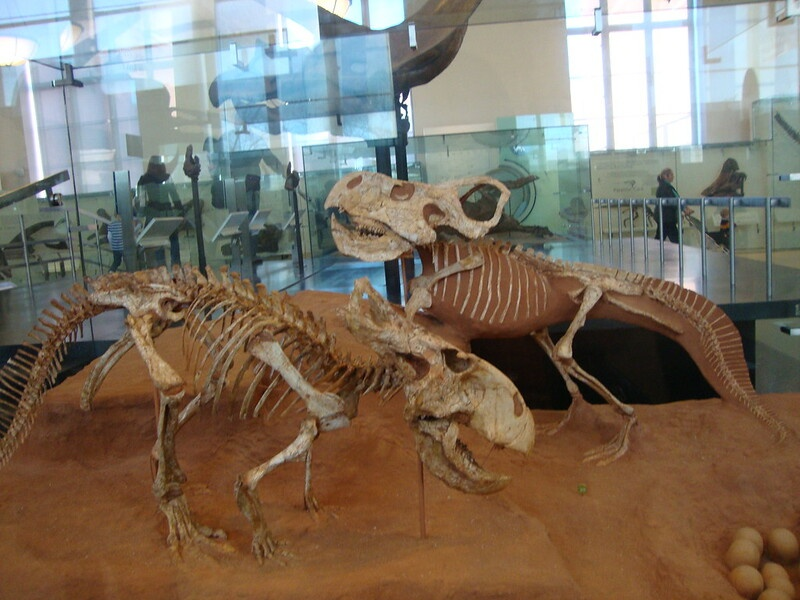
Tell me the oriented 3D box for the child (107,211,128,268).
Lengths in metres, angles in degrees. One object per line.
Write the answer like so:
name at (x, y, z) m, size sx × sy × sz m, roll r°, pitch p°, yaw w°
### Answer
child at (-2.429, -0.498, 5.691) m, size 0.187 × 0.473 × 0.067 m, roll -1°, pitch 8°, yaw 20°

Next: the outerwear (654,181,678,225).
outerwear at (2.213, -0.798, 5.440) m, size 0.317 × 0.332 × 0.177 m, roll -6°, pitch 3°, yaw -27°

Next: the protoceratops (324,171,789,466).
protoceratops at (0.808, -0.081, 5.030) m, size 3.575 × 2.033 × 1.464 m, roll 7°, pitch 11°, yaw -4°

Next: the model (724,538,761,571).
model at (1.945, 1.438, 3.789) m, size 0.151 × 0.202 × 0.163 m, roll 20°, pitch -7°, yaw 6°
